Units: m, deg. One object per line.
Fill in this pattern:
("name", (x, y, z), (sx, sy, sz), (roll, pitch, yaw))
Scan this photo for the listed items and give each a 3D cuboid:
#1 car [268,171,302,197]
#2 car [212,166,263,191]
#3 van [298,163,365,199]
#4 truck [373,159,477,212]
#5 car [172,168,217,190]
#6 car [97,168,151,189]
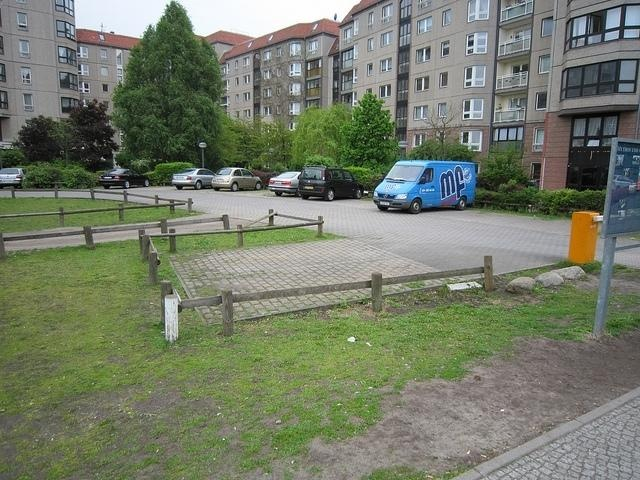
("car", (-1.677, -3.463, 28.284), (1.073, 0.859, 2.408), (11, 18, 43))
("car", (-6.093, -4.394, 33.247), (2.921, 1.345, 1.732), (-13, 19, -43))
("van", (0.526, -3.362, 26.259), (3.063, 1.608, 1.676), (-13, 19, -38))
("truck", (5.059, -2.564, 21.580), (4.764, 2.349, 2.369), (-4, 9, -28))
("car", (-9.618, -4.546, 34.434), (2.771, 1.530, 1.673), (-5, 10, -19))
("car", (-14.892, -4.615, 35.338), (1.465, 1.229, 3.658), (4, 13, 22))
